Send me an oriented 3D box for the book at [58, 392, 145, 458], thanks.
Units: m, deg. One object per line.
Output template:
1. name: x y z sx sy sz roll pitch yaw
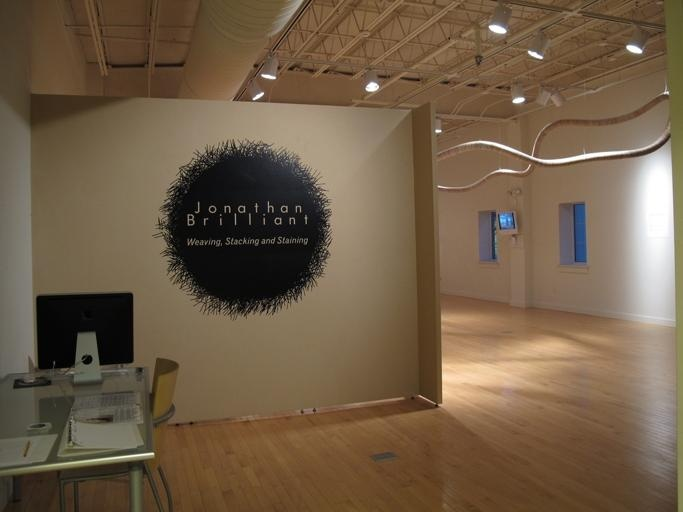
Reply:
1. book: -1.385 0.962 2.768 0.407 0.042 0.910 -3 3 -24

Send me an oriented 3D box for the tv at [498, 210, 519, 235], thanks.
1. tv: 4.345 -0.852 12.235 0.196 0.628 0.576 -3 -1 -29

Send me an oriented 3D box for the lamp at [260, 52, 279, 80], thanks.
1. lamp: -1.171 -3.128 7.720 0.253 0.495 0.582 -2 3 -8

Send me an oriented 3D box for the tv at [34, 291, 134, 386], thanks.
1. tv: -1.928 0.626 3.537 0.543 0.534 0.194 -2 1 -11

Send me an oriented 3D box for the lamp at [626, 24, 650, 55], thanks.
1. lamp: 4.301 -3.172 6.881 0.334 0.376 0.197 -2 3 -12

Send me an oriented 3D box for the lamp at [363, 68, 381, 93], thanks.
1. lamp: 0.537 -3.111 8.299 0.202 0.417 0.467 -1 3 4
